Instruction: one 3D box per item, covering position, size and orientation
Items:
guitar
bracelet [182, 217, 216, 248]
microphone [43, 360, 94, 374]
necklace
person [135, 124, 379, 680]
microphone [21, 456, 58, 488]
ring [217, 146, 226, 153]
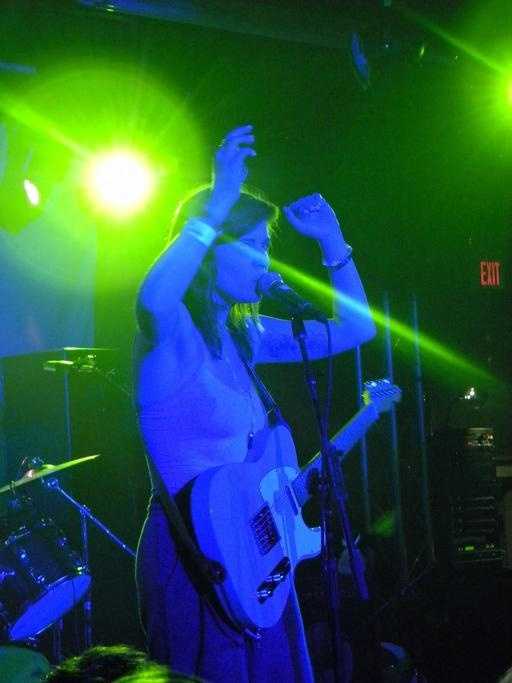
[{"bbox_3d":[0.181,0.461,2.220,0.107,0.314,0.786,-18,21,37],"label":"guitar"},{"bbox_3d":[-0.156,-0.298,1.924,0.079,0.054,0.077,32,2,0],"label":"bracelet"},{"bbox_3d":[-1.031,0.131,3.796,0.276,0.071,0.241,-4,-5,9],"label":"microphone"},{"bbox_3d":[-0.057,0.174,2.234,0.062,0.440,0.066,-4,10,24],"label":"necklace"},{"bbox_3d":[-0.036,0.251,2.221,0.519,1.635,0.906,-6,-5,35],"label":"person"},{"bbox_3d":[-1.103,0.626,3.467,0.164,0.174,0.063,8,-10,-35],"label":"microphone"},{"bbox_3d":[-0.096,-0.519,1.913,0.004,0.011,0.027,-24,-18,-44],"label":"ring"}]
